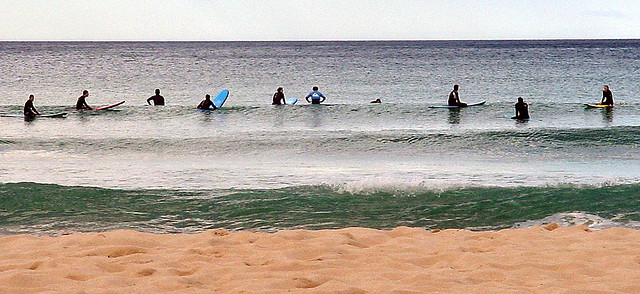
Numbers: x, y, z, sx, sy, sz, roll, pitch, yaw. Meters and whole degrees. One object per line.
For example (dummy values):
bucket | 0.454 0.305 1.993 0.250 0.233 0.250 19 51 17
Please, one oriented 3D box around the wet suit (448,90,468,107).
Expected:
wet suit | 16.956 -5.947 113.127 2.089 2.035 0.812 0 8 3

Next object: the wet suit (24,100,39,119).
wet suit | -34.926 -4.515 110.097 1.376 2.259 1.137 -3 8 -17

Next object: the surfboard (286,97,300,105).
surfboard | -3.521 -5.931 118.384 1.123 0.130 2.001 -39 22 -27

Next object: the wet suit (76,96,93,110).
wet suit | -29.101 -5.397 112.106 1.614 1.627 0.790 -2 8 -11

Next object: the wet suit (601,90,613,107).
wet suit | 35.480 -5.971 112.764 1.367 2.098 1.517 1 7 12
